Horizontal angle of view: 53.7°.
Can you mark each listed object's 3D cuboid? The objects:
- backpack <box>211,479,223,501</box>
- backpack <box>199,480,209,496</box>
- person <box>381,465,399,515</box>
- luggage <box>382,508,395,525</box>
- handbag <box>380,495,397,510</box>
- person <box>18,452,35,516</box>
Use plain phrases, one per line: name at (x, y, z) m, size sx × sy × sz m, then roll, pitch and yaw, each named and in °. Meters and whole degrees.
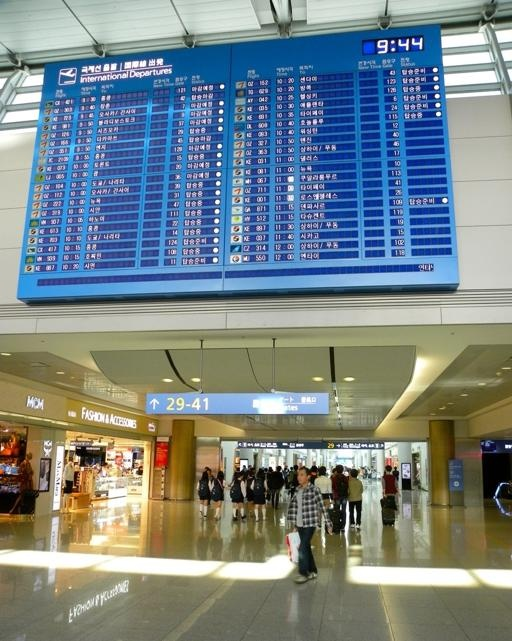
backpack at (-1.095, 4.808, 14.375) m, size 0.317 × 0.598 × 0.533 m, roll 1°, pitch -17°, yaw -6°
backpack at (-1.559, 5.007, 15.057) m, size 0.358 × 0.454 × 0.341 m, roll 4°, pitch -17°, yaw -14°
person at (3.737, 4.618, 14.072) m, size 0.456 × 1.288 × 0.407 m, roll -4°, pitch 15°, yaw -3°
luggage at (3.400, 4.995, 12.861) m, size 0.322 × 0.441 × 0.668 m, roll -4°, pitch -17°, yaw 12°
handbag at (3.411, 4.640, 12.921) m, size 0.370 × 0.341 × 0.571 m, roll -4°, pitch -16°, yaw 11°
person at (-6.512, 4.651, 14.234) m, size 0.467 × 1.425 × 0.527 m, roll 6°, pitch -19°, yaw -21°
